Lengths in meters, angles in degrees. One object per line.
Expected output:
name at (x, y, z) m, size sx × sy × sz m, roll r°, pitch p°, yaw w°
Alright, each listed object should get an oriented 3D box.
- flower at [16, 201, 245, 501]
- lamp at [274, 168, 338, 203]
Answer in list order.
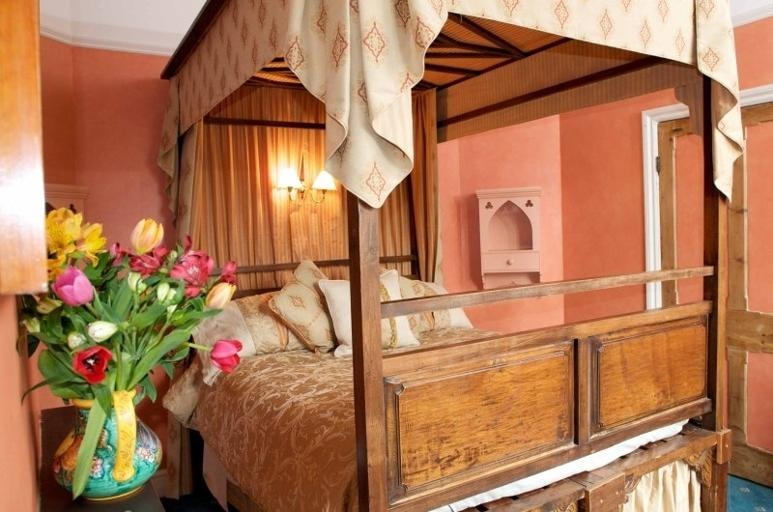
flower at (-0.893, 0.359, 2.072) m, size 0.724 × 0.939 × 0.686 m, roll 2°, pitch 3°, yaw -12°
lamp at (-0.652, -0.556, 4.724) m, size 0.460 × 0.252 × 0.167 m, roll 1°, pitch -15°, yaw -23°
